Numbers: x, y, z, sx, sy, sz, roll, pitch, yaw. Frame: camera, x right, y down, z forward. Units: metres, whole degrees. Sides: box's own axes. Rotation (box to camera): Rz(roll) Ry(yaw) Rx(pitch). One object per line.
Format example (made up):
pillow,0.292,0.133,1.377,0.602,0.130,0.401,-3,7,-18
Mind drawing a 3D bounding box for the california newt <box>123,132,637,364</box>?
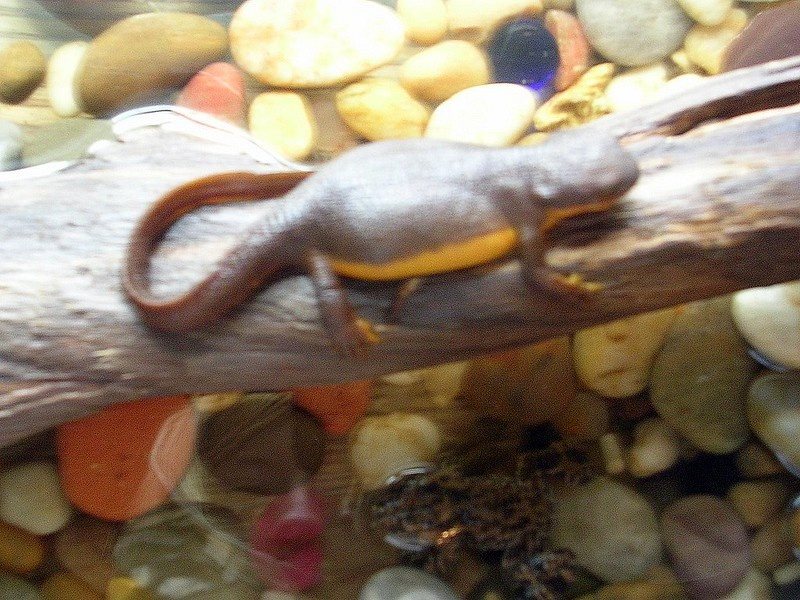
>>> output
california newt,-0.048,-0.076,1.001,0.678,0.158,0.224,-6,73,5
